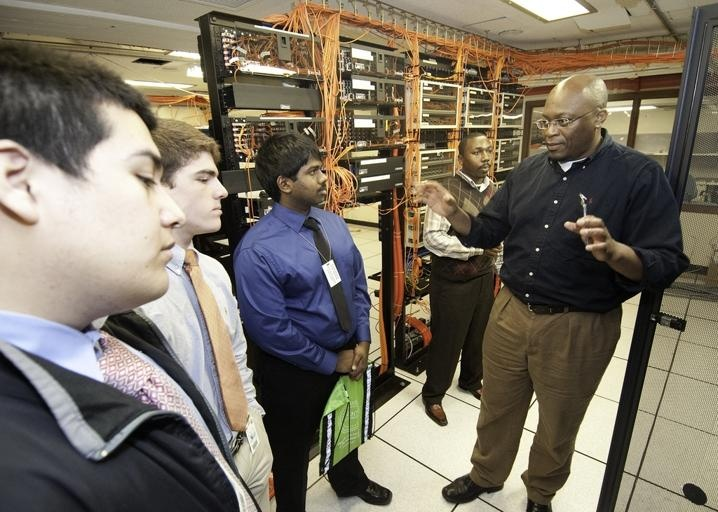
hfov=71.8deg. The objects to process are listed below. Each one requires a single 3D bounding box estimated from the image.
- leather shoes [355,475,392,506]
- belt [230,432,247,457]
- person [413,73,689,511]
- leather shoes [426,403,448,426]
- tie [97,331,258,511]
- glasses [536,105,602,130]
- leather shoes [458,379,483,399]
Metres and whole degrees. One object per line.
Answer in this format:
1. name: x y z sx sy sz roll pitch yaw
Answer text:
1. leather shoes: 0.082 1.226 2.616 0.186 0.075 0.102 8 23 29
2. belt: -0.452 0.689 1.838 0.030 0.086 0.025 7 -24 40
3. person: 0.957 0.251 2.344 0.885 2.095 0.630 9 19 26
4. leather shoes: 0.497 0.995 3.135 0.061 0.064 0.169 -3 9 -15
5. tie: -0.532 0.469 1.423 0.094 0.821 0.198 -36 57 -4
6. glasses: 0.926 -0.629 2.284 0.190 0.101 0.325 -14 22 -38
7. leather shoes: 0.780 0.905 3.439 0.223 0.098 0.080 12 19 39
